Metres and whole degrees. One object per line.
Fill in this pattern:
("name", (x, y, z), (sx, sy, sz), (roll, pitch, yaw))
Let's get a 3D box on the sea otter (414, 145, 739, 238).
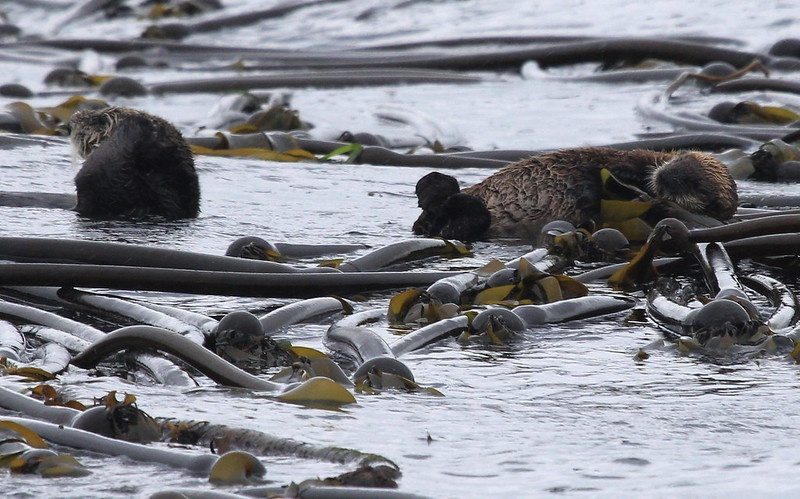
("sea otter", (1.510, -0.458, 11.012), (2.860, 0.640, 0.833), (0, 19, 7))
